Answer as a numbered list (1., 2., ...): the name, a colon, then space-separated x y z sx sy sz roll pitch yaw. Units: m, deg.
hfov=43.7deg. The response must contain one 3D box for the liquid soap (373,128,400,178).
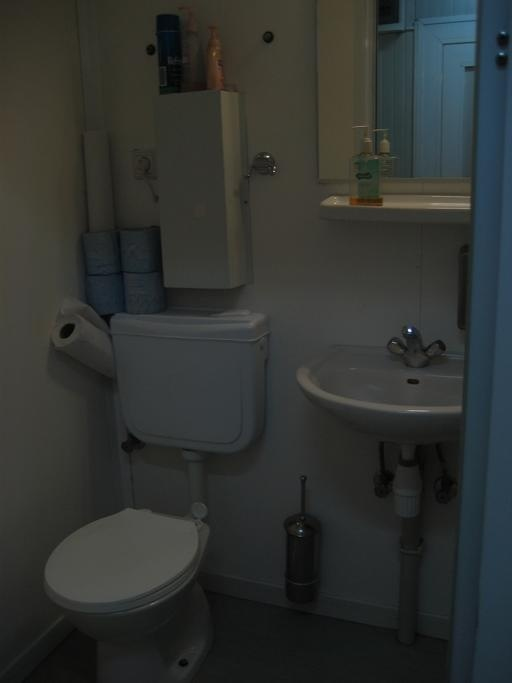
1. liquid soap: 0.300 -0.420 1.414 0.054 0.090 0.052 -20 2 -33

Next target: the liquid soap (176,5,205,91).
1. liquid soap: -0.152 -0.691 1.514 0.055 0.183 0.069 -4 15 -16

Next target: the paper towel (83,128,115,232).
1. paper towel: -0.414 -0.424 1.690 0.065 0.258 0.037 -5 15 -19

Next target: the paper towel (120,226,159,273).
1. paper towel: -0.277 -0.251 1.719 0.114 0.125 0.116 4 14 24

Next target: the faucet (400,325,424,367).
1. faucet: 0.345 0.014 1.409 0.061 0.090 0.042 -33 42 -28

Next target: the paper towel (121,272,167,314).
1. paper towel: -0.293 -0.128 1.735 0.104 0.116 0.107 3 16 15

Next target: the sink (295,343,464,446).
1. sink: 0.256 0.120 1.368 0.349 0.134 0.383 5 15 17

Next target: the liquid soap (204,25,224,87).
1. liquid soap: -0.093 -0.651 1.467 0.039 0.137 0.053 -1 14 -4

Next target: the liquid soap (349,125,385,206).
1. liquid soap: 0.243 -0.384 1.378 0.075 0.169 0.158 3 15 11

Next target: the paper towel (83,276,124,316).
1. paper towel: -0.403 -0.126 1.715 0.104 0.111 0.098 -4 8 -9

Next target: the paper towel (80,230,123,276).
1. paper towel: -0.423 -0.260 1.732 0.114 0.125 0.111 1 31 -3
